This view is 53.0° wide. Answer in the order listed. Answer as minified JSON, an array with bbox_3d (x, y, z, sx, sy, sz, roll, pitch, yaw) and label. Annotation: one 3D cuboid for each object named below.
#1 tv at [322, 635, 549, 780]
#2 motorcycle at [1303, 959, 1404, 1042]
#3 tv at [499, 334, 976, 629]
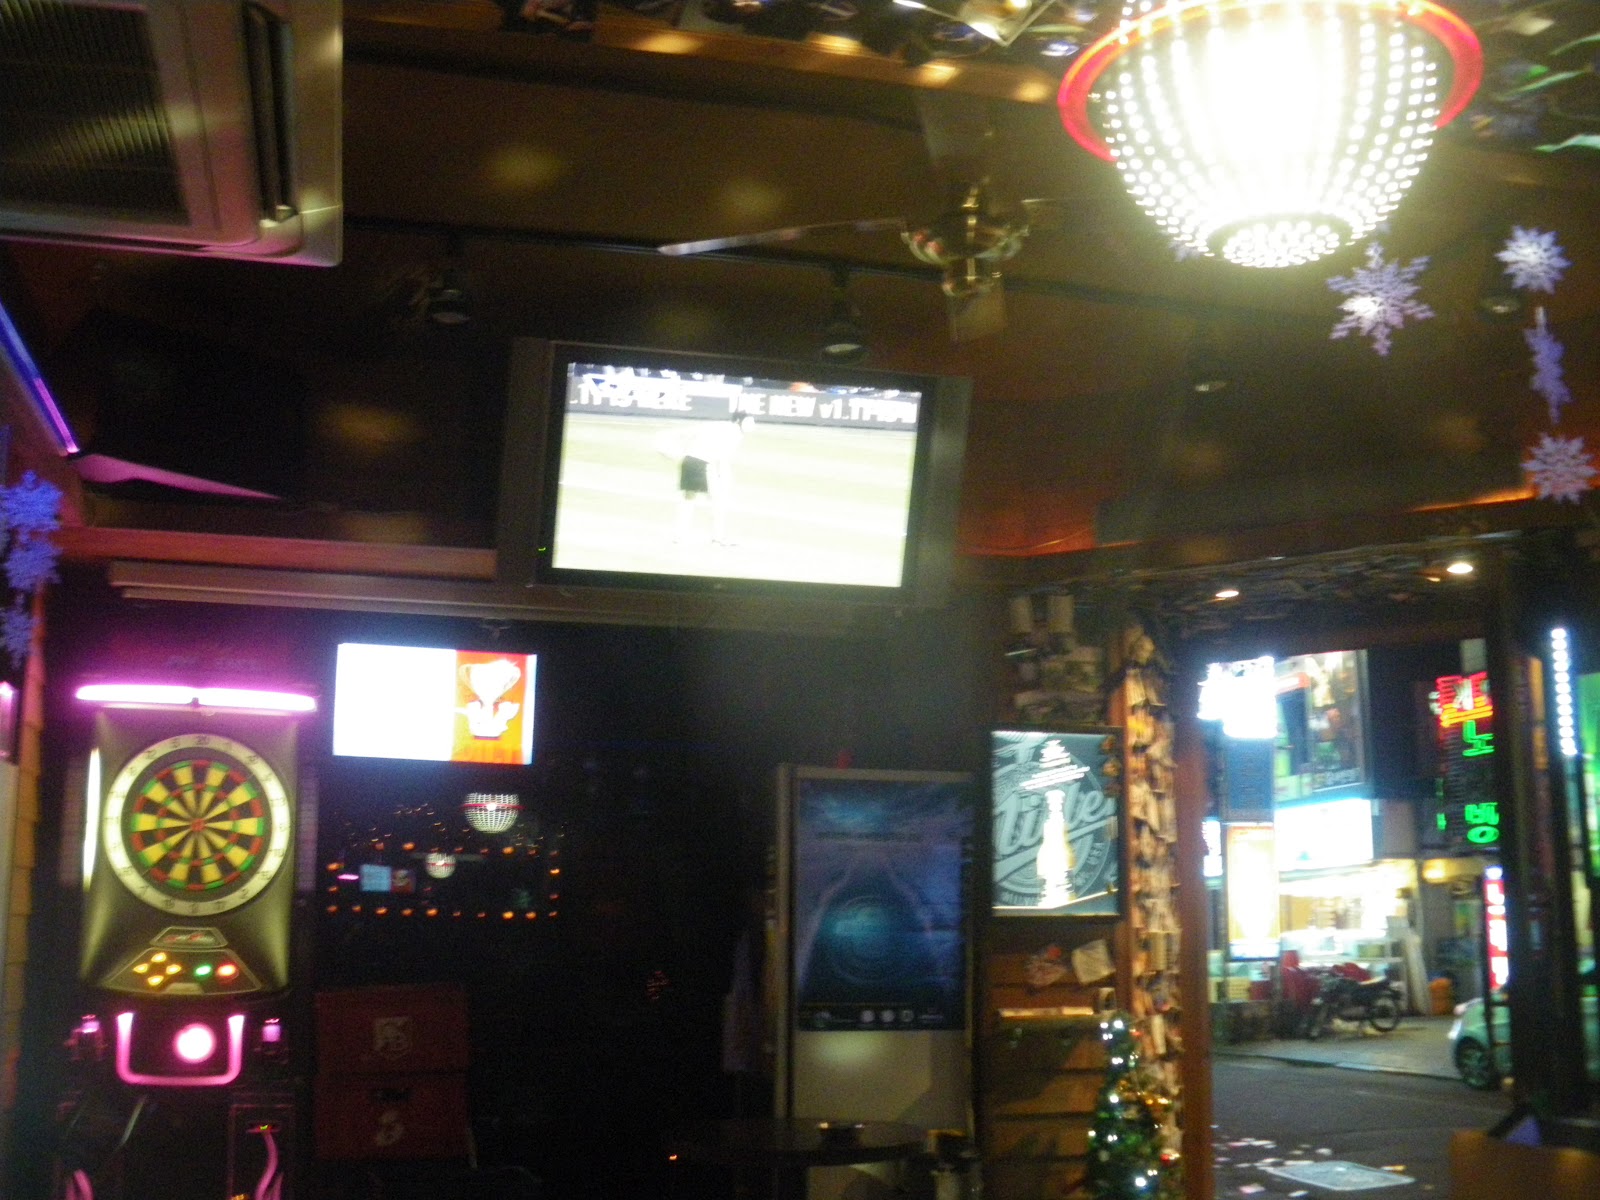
[{"bbox_3d":[-1.738,0.500,7.650,0.944,0.575,0.088,3,-13,-23],"label":"tv"},{"bbox_3d":[6.539,4.796,19.313,1.622,0.836,0.731,4,-12,-20],"label":"motorcycle"},{"bbox_3d":[-0.270,-0.438,6.022,1.472,0.649,0.288,5,-5,-12],"label":"tv"}]
